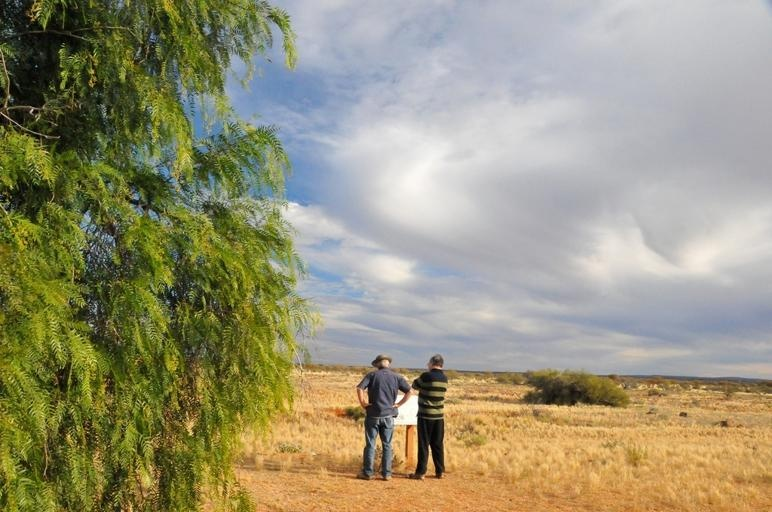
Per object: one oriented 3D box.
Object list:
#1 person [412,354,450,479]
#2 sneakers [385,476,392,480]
[{"bbox_3d":[0.765,3.064,12.311,0.706,2.279,1.293,5,-11,8],"label":"person"},{"bbox_3d":[-0.007,4.077,11.890,0.084,0.047,0.117,-13,-18,42],"label":"sneakers"}]
